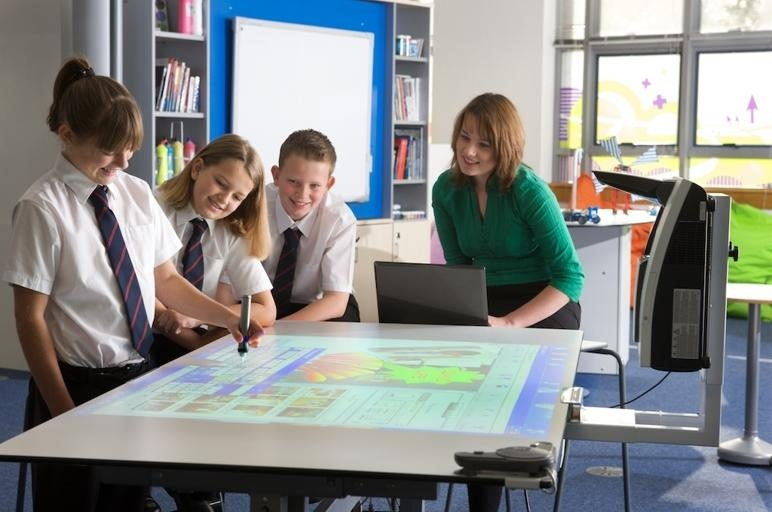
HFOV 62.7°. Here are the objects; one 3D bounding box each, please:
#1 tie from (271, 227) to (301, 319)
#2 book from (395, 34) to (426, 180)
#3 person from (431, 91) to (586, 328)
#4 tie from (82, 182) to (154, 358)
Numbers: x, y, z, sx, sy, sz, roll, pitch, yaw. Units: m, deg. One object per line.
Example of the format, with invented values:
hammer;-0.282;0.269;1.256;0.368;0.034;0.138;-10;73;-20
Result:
tie;-0.433;0.030;2.861;0.109;0.068;0.566;25;29;-26
book;0.191;-1.280;5.560;0.351;1.225;0.270;-2;9;-19
person;0.562;-0.249;3.001;0.431;1.017;0.670;-4;10;-29
tie;-0.804;0.046;1.981;0.091;0.656;0.072;-21;5;-32
